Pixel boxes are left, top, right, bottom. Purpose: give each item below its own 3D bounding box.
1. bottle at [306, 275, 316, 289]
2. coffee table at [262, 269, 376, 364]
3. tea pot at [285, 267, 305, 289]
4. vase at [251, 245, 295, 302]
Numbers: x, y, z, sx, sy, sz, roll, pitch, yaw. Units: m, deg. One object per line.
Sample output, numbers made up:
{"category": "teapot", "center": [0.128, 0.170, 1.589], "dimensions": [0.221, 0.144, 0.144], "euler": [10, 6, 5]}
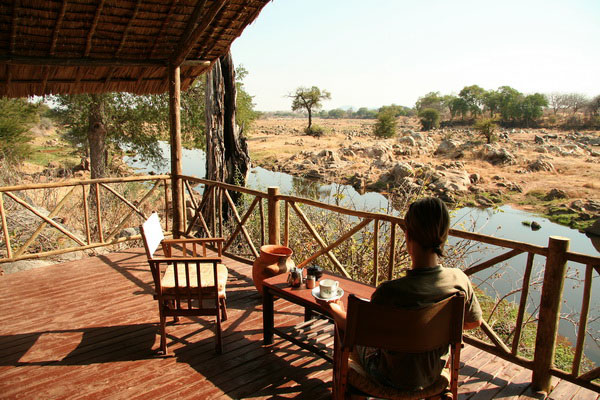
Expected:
{"category": "bottle", "center": [0.127, 0.972, 4.569], "dimensions": [0.132, 0.143, 0.132], "euler": [0, 0, 1]}
{"category": "coffee table", "center": [0.150, 1.414, 4.711], "dimensions": [0.941, 0.791, 1.232], "euler": [-8, 14, -36]}
{"category": "tea pot", "center": [-0.049, 0.941, 4.625], "dimensions": [0.144, 0.163, 0.242], "euler": [-1, -6, 30]}
{"category": "vase", "center": [-0.394, 1.010, 5.457], "dimensions": [0.613, 0.739, 0.645], "euler": [3, 10, -3]}
